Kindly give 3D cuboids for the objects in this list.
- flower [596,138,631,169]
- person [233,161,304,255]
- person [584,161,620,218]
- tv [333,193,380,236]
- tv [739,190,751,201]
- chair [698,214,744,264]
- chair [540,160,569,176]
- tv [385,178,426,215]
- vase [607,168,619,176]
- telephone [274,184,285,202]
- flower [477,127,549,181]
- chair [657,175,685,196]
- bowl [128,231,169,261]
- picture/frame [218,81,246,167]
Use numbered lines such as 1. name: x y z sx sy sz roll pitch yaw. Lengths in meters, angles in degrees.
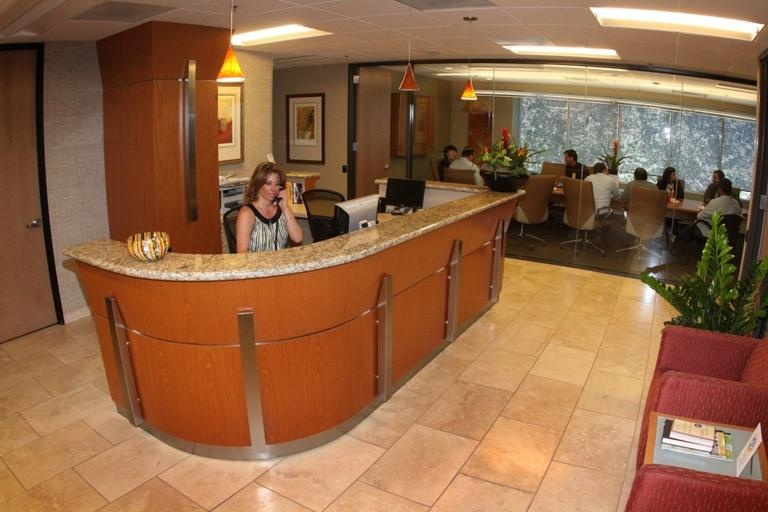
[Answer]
1. flower: 3.557 -1.565 8.163 0.417 0.471 0.085 5 20 21
2. person: -1.178 -0.470 5.211 0.654 0.864 0.356 -7 19 -15
3. person: 3.451 -1.084 8.325 0.554 1.047 0.602 10 40 37
4. tv: -0.287 -0.404 5.298 0.152 0.364 0.546 16 24 37
5. tv: 5.033 -0.835 7.331 0.084 0.123 0.174 -7 19 -14
6. chair: 4.870 -0.230 7.410 0.297 0.673 0.202 9 21 28
7. chair: 2.751 -1.417 8.596 0.416 0.214 0.274 8 -1 12
8. tv: 0.254 -0.847 7.325 0.557 0.411 0.293 10 22 32
9. vase: 3.550 -1.302 8.210 0.122 0.072 0.119 1 7 0
10. telephone: -1.039 -0.610 5.197 0.109 0.142 0.048 -4 15 -44
11. flower: 1.717 -1.317 7.422 1.090 0.750 1.121 0 5 -11
12. chair: 4.279 -1.054 7.847 0.230 0.379 0.261 -30 12 -24
13. bowl: -1.834 -0.094 4.233 0.251 0.150 0.265 0 4 0
14. picture/frame: -2.298 -1.948 7.825 0.121 1.101 0.628 7 20 24
